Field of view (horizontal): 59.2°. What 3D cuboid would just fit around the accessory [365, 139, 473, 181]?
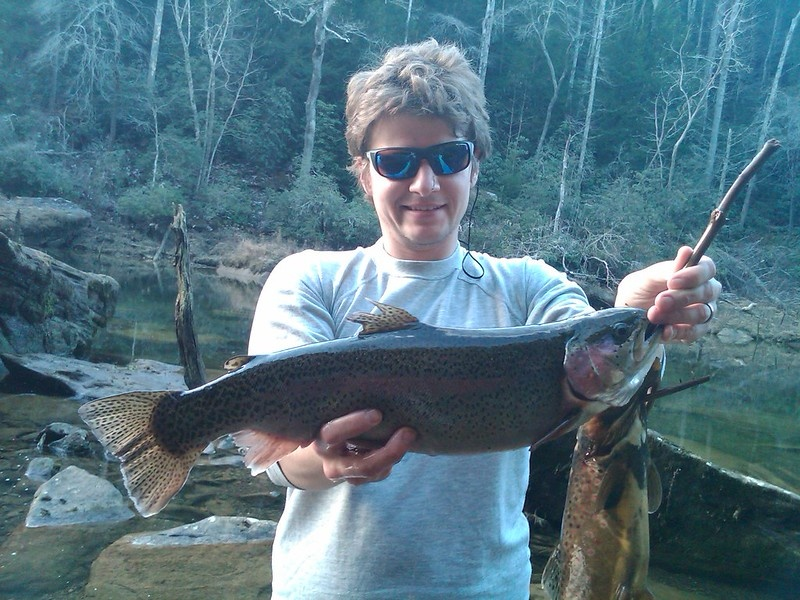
[{"bbox_3d":[0.176,-1.054,5.385,0.472,0.140,0.423,-3,-10,-4],"label":"accessory"}]
